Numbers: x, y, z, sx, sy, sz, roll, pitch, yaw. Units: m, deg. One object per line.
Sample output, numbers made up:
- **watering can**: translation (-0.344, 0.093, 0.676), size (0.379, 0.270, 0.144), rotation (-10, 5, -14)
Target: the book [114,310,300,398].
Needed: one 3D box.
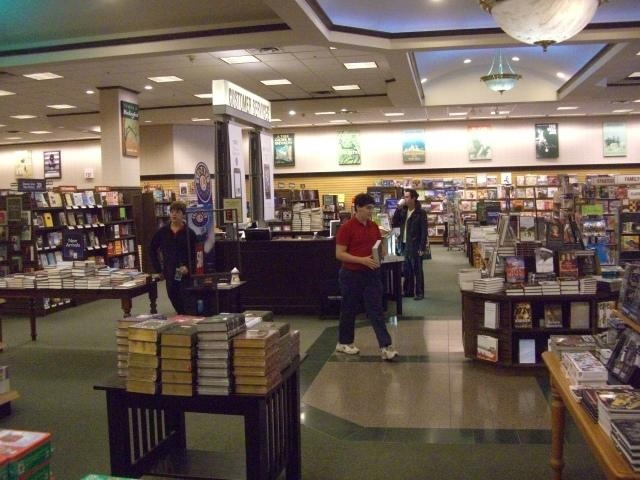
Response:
- **book**: translation (-0.740, 0.726, 3.325), size (1.035, 0.483, 0.470), rotation (-1, 5, 6)

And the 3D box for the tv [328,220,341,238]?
- **tv**: translation (0.268, -0.237, 9.657), size (0.272, 0.369, 0.379), rotation (1, 4, 2)

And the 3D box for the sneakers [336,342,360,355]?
- **sneakers**: translation (0.347, 1.376, 6.421), size (0.296, 0.125, 0.118), rotation (1, 4, 21)

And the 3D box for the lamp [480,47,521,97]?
- **lamp**: translation (4.607, -4.218, 12.749), size (0.785, 1.280, 3.742), rotation (0, 6, 20)

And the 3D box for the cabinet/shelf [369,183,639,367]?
- **cabinet/shelf**: translation (2.391, 0.604, 6.299), size (2.472, 1.854, 0.806), rotation (-12, -4, 0)

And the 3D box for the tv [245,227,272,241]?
- **tv**: translation (-1.076, -0.097, 8.588), size (0.400, 0.211, 0.267), rotation (0, 1, 1)

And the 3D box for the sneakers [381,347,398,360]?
- **sneakers**: translation (0.882, 1.381, 6.115), size (0.266, 0.127, 0.099), rotation (-7, -4, 37)

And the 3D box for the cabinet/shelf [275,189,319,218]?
- **cabinet/shelf**: translation (-0.891, -1.292, 16.982), size (1.339, 0.863, 3.528), rotation (-1, 6, 6)
